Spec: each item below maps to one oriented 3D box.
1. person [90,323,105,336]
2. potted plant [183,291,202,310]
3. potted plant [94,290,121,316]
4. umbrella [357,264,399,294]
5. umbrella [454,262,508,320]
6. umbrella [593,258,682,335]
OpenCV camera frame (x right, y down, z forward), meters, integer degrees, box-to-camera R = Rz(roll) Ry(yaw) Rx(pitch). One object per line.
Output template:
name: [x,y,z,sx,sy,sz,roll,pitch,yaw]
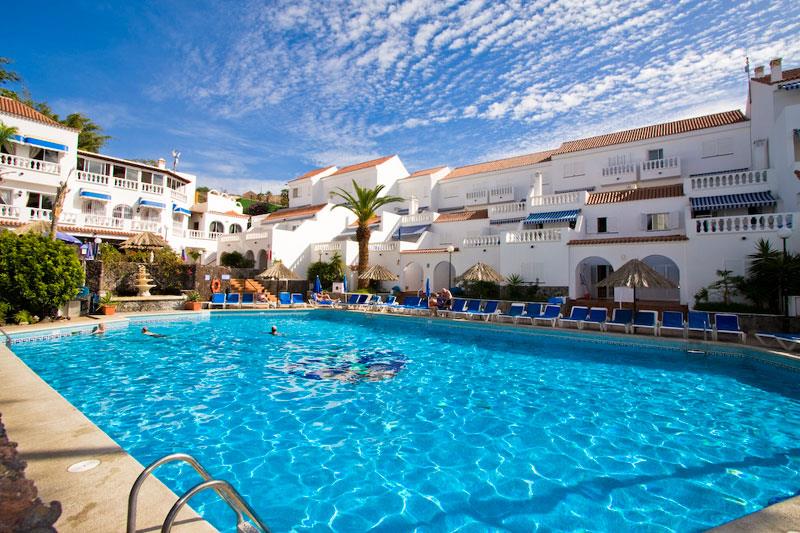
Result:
person: [-15.818,3.334,25.892,0.576,0.688,0.310,0,-31,18]
potted plant: [-14.053,2.356,33.618,1.466,1.608,1.235,0,-6,-2]
potted plant: [-17.397,2.130,29.240,1.602,1.702,1.420,4,-5,-36]
umbrella: [-2.022,0.963,38.801,2.442,1.041,2.331,3,5,31]
umbrella: [5.529,1.382,33.168,3.855,2.936,3.662,0,-1,2]
umbrella: [13.023,0.981,27.558,4.383,3.680,4.425,2,-3,-35]
